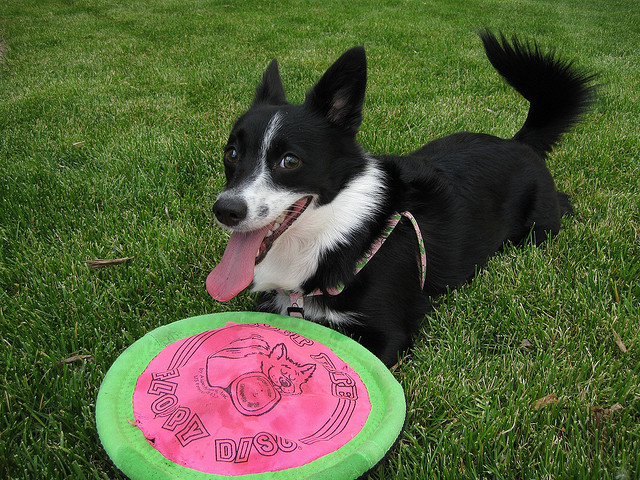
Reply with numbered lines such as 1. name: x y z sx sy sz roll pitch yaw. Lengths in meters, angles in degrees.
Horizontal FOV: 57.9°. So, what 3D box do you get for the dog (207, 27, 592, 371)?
1. dog: 0.730 -0.685 4.924 3.902 2.274 1.609 -26 28 -28
